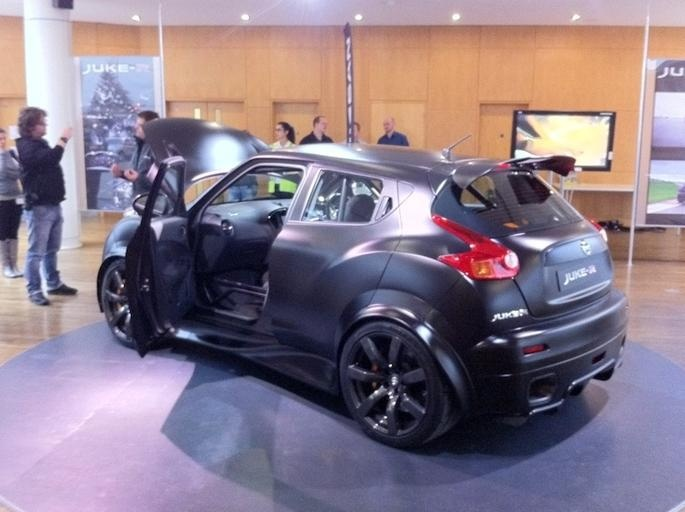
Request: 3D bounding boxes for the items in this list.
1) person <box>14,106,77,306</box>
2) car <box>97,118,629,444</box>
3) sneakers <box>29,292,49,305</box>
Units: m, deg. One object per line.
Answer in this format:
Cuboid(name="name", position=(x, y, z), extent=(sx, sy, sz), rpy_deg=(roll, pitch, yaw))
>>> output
Cuboid(name="person", position=(-3.267, -0.414, 5.500), extent=(0.525, 1.807, 0.541), rpy_deg=(-6, 15, -23))
Cuboid(name="car", position=(0.054, 0.169, 3.298), extent=(3.141, 1.746, 1.602), rpy_deg=(9, 17, 32))
Cuboid(name="sneakers", position=(-3.322, 0.444, 5.477), extent=(0.275, 0.119, 0.104), rpy_deg=(9, 16, 40))
